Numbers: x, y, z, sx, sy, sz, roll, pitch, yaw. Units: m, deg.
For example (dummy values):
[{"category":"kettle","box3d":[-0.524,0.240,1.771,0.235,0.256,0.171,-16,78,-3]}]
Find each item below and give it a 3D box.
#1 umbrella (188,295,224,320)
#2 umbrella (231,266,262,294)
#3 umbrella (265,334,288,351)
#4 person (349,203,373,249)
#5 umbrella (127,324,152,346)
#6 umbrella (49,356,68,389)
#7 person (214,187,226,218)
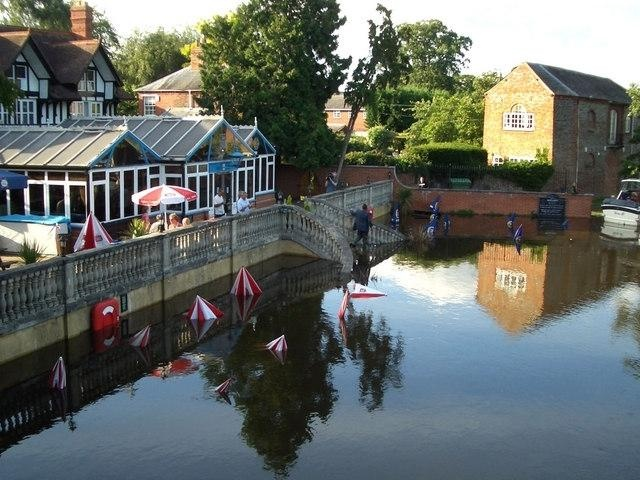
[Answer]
[{"category":"umbrella","box3d":[-3.627,2.257,21.749,0.914,0.706,0.687,-2,3,-18]},{"category":"umbrella","box3d":[-2.593,1.559,24.624,1.116,1.241,0.845,-3,4,-15]},{"category":"umbrella","box3d":[-1.215,2.924,19.512,0.616,0.384,0.491,2,13,3]},{"category":"person","box3d":[1.935,-0.766,31.787,0.926,1.898,0.939,12,23,24]},{"category":"umbrella","box3d":[-5.127,2.734,19.692,0.649,0.554,0.563,-6,15,-29]},{"category":"umbrella","box3d":[-6.544,3.366,17.215,0.373,0.766,0.439,14,12,-1]},{"category":"person","box3d":[-4.052,-1.451,27.639,0.439,0.888,1.917,-1,14,-9]}]
